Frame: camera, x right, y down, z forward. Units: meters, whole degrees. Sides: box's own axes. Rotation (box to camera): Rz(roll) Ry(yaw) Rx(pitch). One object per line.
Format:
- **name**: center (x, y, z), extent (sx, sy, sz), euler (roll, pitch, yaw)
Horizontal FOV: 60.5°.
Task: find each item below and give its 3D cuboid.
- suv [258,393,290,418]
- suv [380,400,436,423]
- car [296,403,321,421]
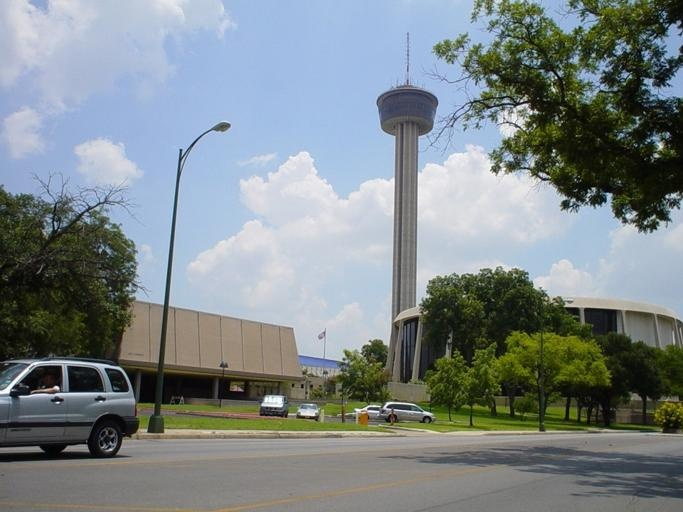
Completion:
- **suv**: center (-6.013, 13.314, 51.672), extent (2.213, 1.789, 2.173), euler (1, -16, 2)
- **suv**: center (5.256, 13.147, 49.018), extent (3.944, 1.528, 2.067), euler (1, -8, -11)
- **car**: center (-2.713, 12.827, 48.143), extent (1.763, 1.350, 3.865), euler (2, -17, -1)
